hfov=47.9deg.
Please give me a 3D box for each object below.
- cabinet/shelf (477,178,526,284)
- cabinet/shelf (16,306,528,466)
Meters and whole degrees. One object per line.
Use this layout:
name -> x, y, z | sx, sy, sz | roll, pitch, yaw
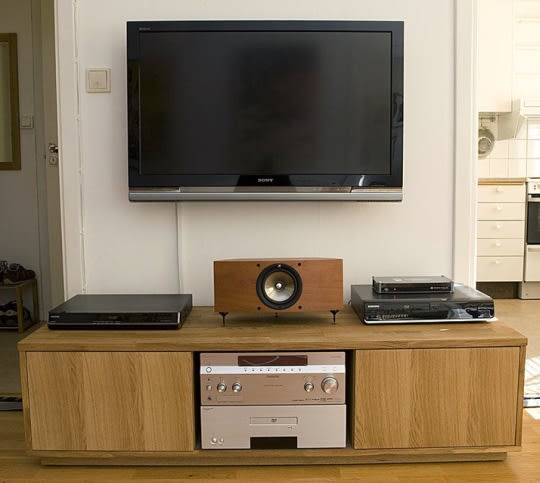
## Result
cabinet/shelf -> 1.645, -0.081, 4.335 | 0.342, 0.762, 0.125 | -2, 0, 8
cabinet/shelf -> 0.011, 0.664, 2.596 | 1.964, 0.482, 0.495 | -1, -5, 1
